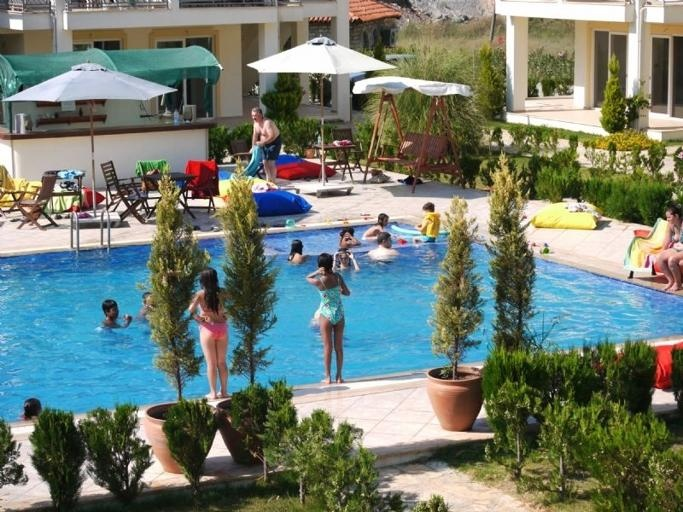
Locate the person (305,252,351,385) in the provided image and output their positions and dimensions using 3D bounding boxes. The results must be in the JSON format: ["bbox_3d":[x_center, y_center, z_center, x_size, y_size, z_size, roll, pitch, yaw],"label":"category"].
[{"bbox_3d":[-0.167,0.901,13.714,0.540,1.899,0.881,-2,8,-2],"label":"person"}]

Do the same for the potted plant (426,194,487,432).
[{"bbox_3d":[1.402,0.697,12.008,0.707,2.745,0.948,-1,8,9],"label":"potted plant"}]

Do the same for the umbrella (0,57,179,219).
[{"bbox_3d":[-5.430,-2.356,21.623,2.892,3.276,3.299,-3,13,-5],"label":"umbrella"}]

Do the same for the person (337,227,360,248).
[{"bbox_3d":[0.129,-0.345,19.326,0.294,0.450,0.825,2,10,28],"label":"person"}]

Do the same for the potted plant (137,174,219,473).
[{"bbox_3d":[-2.025,0.707,11.663,0.802,3.321,1.460,-3,8,-9],"label":"potted plant"}]

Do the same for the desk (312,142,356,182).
[{"bbox_3d":[-0.105,-2.450,25.725,0.904,0.876,0.964,-4,5,15],"label":"desk"}]
